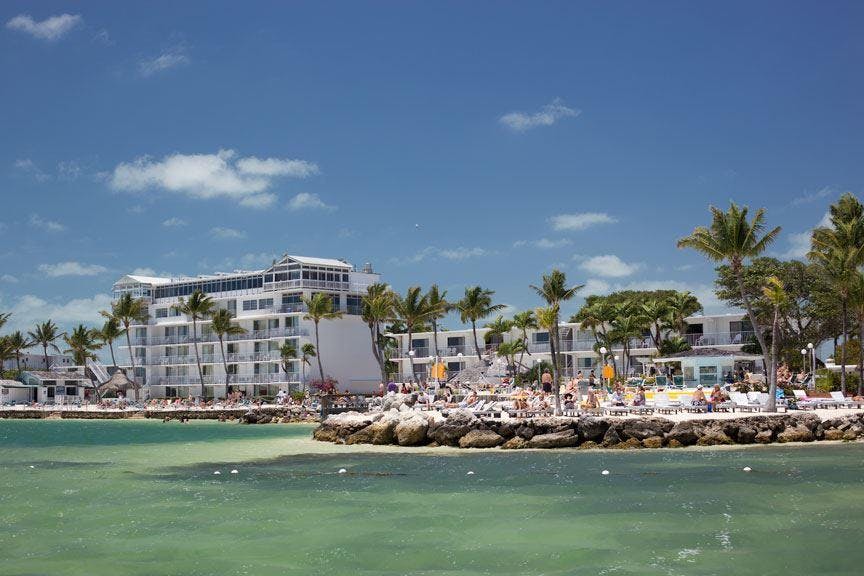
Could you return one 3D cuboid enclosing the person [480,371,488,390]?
[{"bbox_3d":[4.195,7.418,70.454,1.024,1.032,3.191,15,-1,4],"label":"person"}]

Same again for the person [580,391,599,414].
[{"bbox_3d":[7.892,5.704,43.353,0.874,1.074,2.327,-5,-9,9],"label":"person"}]

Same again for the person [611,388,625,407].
[{"bbox_3d":[9.608,5.594,45.105,0.652,0.941,1.577,-6,-9,10],"label":"person"}]

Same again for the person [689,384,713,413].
[{"bbox_3d":[14.715,6.054,47.471,1.052,1.529,0.919,-12,15,-37],"label":"person"}]

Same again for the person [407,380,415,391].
[{"bbox_3d":[-1.696,7.609,68.146,0.552,0.432,1.770,-17,-3,-1],"label":"person"}]
